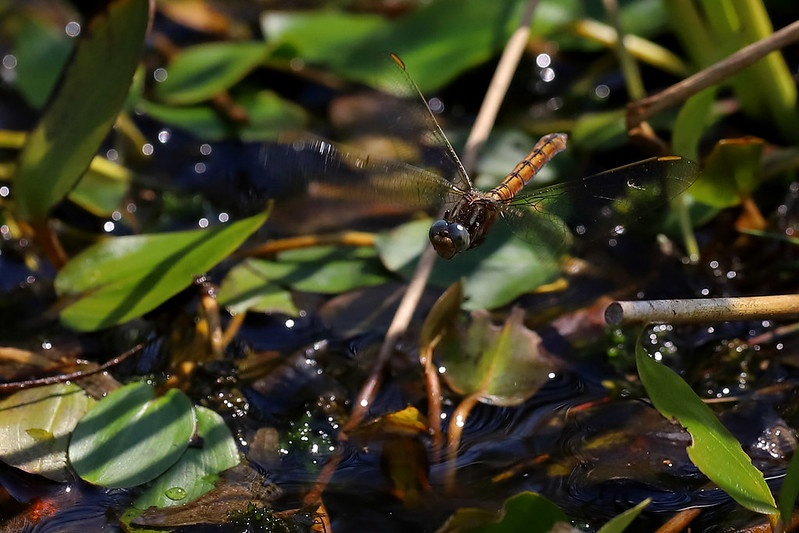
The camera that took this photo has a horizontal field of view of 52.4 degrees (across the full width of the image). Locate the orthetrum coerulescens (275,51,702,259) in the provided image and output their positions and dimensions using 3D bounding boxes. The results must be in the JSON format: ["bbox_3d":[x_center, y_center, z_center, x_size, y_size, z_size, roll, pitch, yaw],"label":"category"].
[{"bbox_3d":[0.222,-0.166,1.935,0.665,0.488,0.631,-7,10,-39],"label":"orthetrum coerulescens"}]
